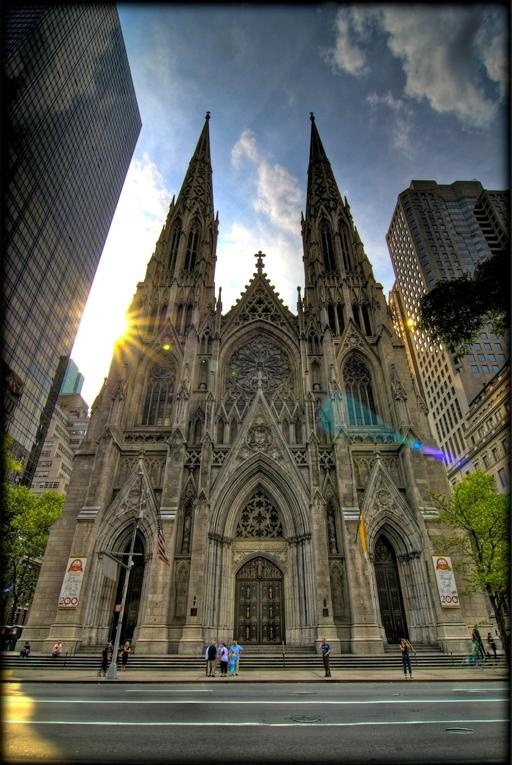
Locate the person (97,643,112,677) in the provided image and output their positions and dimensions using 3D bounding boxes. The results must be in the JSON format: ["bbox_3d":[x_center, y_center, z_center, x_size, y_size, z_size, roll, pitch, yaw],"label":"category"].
[{"bbox_3d":[-7.278,12.820,16.614,0.417,1.175,2.137,11,-31,-17],"label":"person"}]

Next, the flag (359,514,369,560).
[{"bbox_3d":[7.312,10.013,23.224,0.637,2.363,3.126,-9,-31,14],"label":"flag"}]

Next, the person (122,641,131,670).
[{"bbox_3d":[-7.366,14.649,19.304,0.424,1.138,2.806,9,-30,-14],"label":"person"}]
